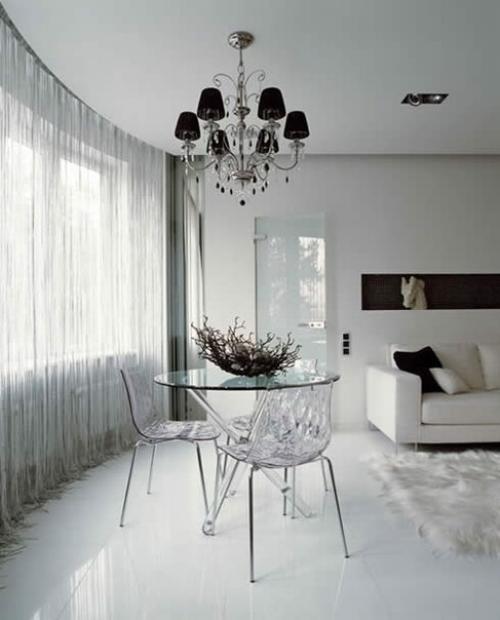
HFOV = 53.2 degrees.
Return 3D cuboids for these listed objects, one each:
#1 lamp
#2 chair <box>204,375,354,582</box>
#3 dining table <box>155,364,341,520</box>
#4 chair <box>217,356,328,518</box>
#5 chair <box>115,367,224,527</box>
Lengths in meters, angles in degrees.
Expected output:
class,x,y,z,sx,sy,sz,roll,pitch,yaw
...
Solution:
class,x,y,z,sx,sy,sz,roll,pitch,yaw
lamp,-0.047,-1.116,2.836,0.699,0.937,0.708,-1,-2,3
chair,0.116,0.742,2.440,0.607,0.925,0.683,-4,9,-44
dining table,-0.055,0.527,2.743,0.797,0.692,0.870,-1,-2,3
chair,0.123,0.699,2.359,0.587,0.556,0.723,-1,0,10
chair,-0.433,0.776,2.879,0.476,0.814,0.500,-1,-1,1
